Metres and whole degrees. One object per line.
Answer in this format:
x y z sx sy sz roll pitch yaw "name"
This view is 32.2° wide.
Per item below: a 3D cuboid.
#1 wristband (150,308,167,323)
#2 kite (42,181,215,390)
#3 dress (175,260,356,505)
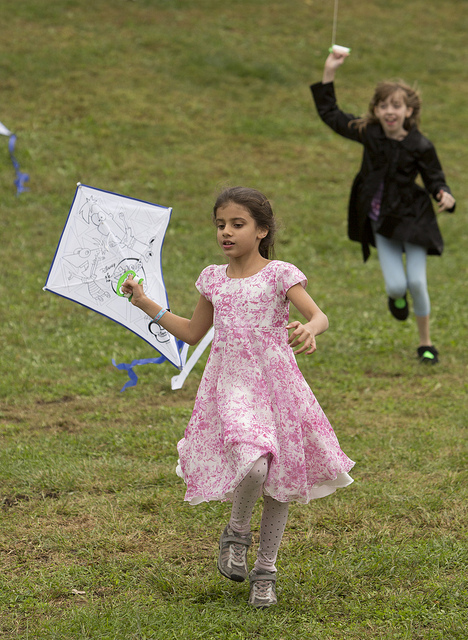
-0.315 -0.021 3.453 0.059 0.060 0.014 -27 83 -48 "wristband"
-0.605 -0.305 3.946 0.177 0.856 1.343 40 26 -50 "kite"
0.062 0.263 3.168 0.681 0.951 0.498 11 18 35 "dress"
